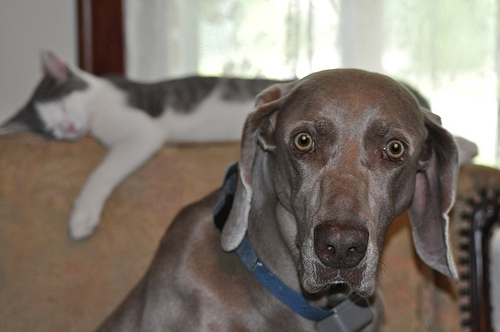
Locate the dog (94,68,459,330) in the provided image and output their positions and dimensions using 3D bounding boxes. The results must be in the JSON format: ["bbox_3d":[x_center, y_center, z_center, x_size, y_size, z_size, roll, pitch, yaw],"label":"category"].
[{"bbox_3d":[0.170,0.203,2.472,1.331,0.896,0.776,-4,49,-11],"label":"dog"}]

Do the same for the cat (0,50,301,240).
[{"bbox_3d":[-0.444,-0.256,2.675,1.071,0.379,0.771,-17,40,-24],"label":"cat"}]
